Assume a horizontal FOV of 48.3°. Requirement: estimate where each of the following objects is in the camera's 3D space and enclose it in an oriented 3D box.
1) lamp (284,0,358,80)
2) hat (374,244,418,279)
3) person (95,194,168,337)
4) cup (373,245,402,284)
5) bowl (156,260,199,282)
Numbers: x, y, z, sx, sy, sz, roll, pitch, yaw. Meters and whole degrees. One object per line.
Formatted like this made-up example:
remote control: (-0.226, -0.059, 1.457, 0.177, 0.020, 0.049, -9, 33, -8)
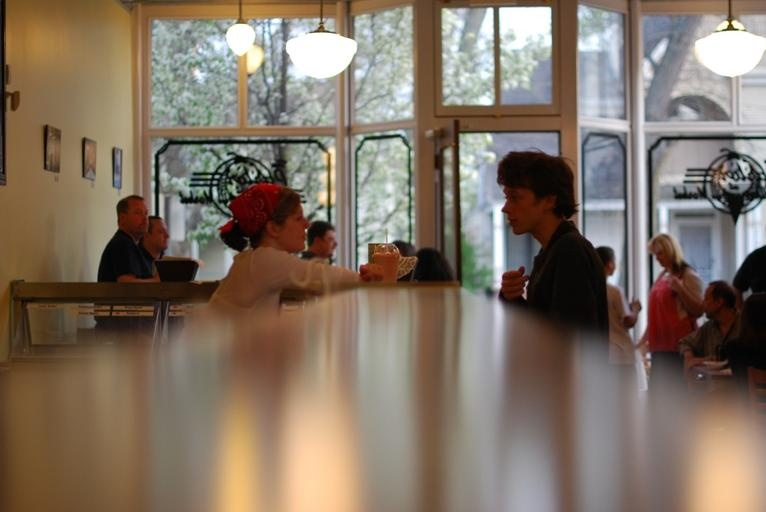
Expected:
lamp: (-0.396, -1.319, 5.366, 0.385, 0.600, 0.389, -2, -5, 15)
hat: (0.050, 0.015, 3.037, 0.182, 0.140, 0.108, 7, -9, -27)
person: (-1.454, -0.003, 4.857, 0.317, 0.687, 1.491, 1, 2, -17)
cup: (0.010, 0.029, 2.906, 0.113, 0.158, 0.113, 0, -8, 0)
bowl: (-0.955, 0.067, 3.959, 0.137, 0.065, 0.119, -1, -2, -1)
